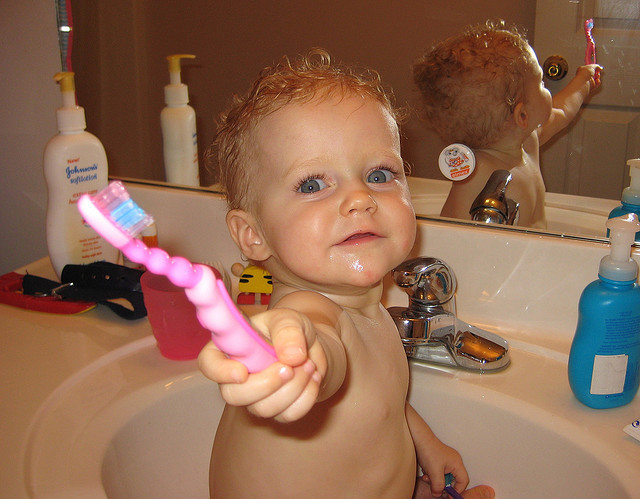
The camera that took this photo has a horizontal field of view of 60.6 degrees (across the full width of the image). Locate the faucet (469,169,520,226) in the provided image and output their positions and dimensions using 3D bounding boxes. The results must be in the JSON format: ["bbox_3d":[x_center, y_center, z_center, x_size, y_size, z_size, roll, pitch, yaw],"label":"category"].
[{"bbox_3d":[0.280,-0.072,0.844,0.083,0.087,0.049,2,18,-46],"label":"faucet"}]

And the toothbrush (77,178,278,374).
[{"bbox_3d":[-0.177,0.040,0.664,0.317,0.046,0.074,48,39,-3],"label":"toothbrush"}]

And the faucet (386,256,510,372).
[{"bbox_3d":[0.178,0.095,0.761,0.180,0.155,0.063,0,4,-27],"label":"faucet"}]
